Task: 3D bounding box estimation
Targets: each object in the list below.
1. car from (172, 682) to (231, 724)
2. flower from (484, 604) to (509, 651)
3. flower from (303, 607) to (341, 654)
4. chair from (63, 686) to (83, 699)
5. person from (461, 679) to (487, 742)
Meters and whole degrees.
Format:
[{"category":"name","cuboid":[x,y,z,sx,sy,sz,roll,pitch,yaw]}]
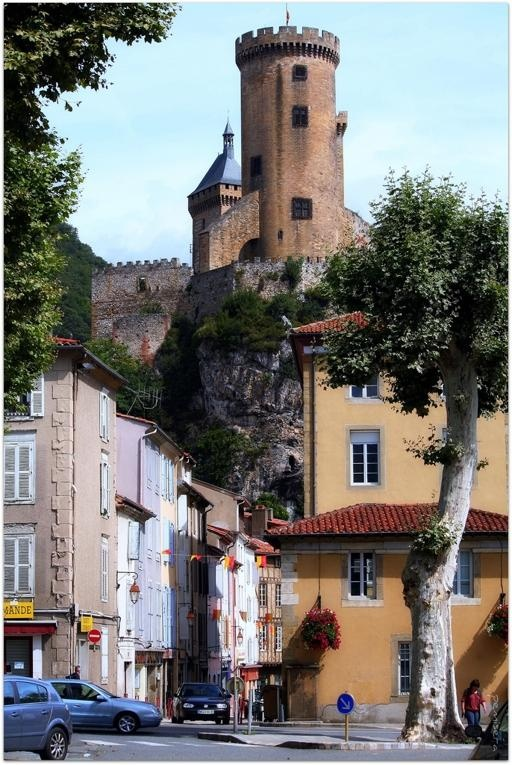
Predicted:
[{"category":"car","cuboid":[-1.258,7.979,57.025,1.383,0.992,1.202,1,-6,0]},{"category":"flower","cuboid":[5.255,5.299,50.194,0.417,0.976,0.676,1,-6,4]},{"category":"flower","cuboid":[1.503,5.488,50.660,0.672,0.994,0.790,2,-12,1]},{"category":"chair","cuboid":[-3.510,6.145,45.473,0.163,0.349,0.298,-1,-3,35]},{"category":"person","cuboid":[4.291,6.494,45.402,0.360,1.264,0.340,-5,14,-17]}]
